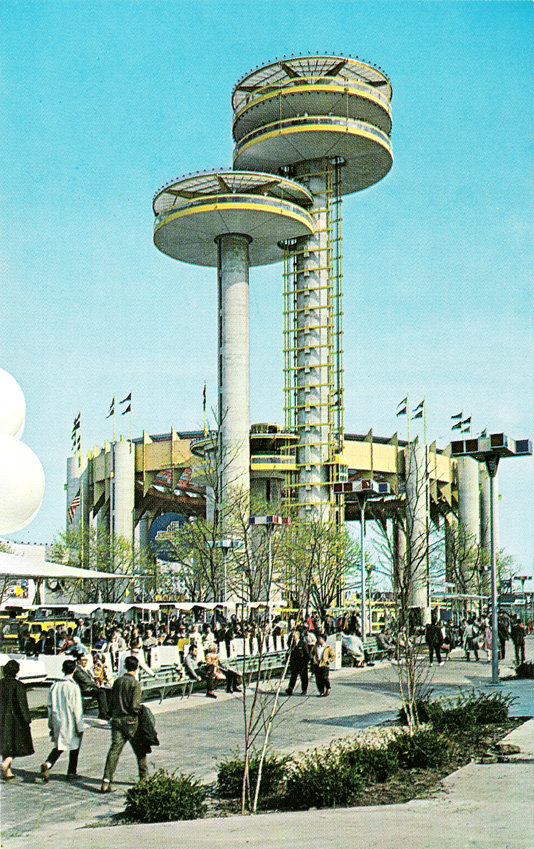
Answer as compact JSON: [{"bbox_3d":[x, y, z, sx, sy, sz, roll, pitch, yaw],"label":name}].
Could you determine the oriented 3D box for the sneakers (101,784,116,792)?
[{"bbox_3d":[-1.836,4.183,18.062,0.074,0.095,0.197,2,-3,7],"label":"sneakers"}]

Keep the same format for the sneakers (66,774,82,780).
[{"bbox_3d":[-2.300,4.194,18.672,0.154,0.085,0.058,-1,1,-2],"label":"sneakers"}]

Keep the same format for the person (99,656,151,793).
[{"bbox_3d":[-1.661,3.478,18.210,0.555,1.520,0.993,-1,-6,-6],"label":"person"}]

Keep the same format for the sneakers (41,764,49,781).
[{"bbox_3d":[-2.624,4.119,18.593,0.080,0.261,0.113,-4,-9,11],"label":"sneakers"}]

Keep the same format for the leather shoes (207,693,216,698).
[{"bbox_3d":[-0.974,4.861,28.095,0.078,0.078,0.165,10,-16,-42],"label":"leather shoes"}]

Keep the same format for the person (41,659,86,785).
[{"bbox_3d":[-2.494,3.561,18.968,0.499,1.405,1.022,-1,-6,-8],"label":"person"}]
